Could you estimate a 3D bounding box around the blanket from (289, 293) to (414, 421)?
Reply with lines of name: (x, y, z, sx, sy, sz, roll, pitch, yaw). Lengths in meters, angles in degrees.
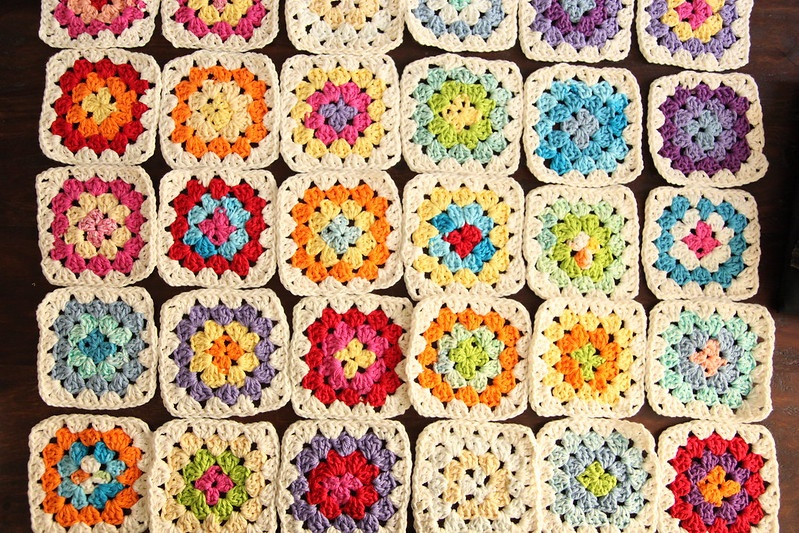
blanket: (-0.149, 0.274, 2.560, 0.362, 0.032, 0.369, 1, 88, 0)

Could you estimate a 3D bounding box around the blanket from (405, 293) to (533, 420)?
blanket: (0.210, 0.250, 2.548, 0.427, 0.099, 0.466, 16, 34, 28)

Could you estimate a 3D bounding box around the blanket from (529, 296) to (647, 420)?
blanket: (0.569, 0.279, 2.571, 0.357, 0.035, 0.354, 3, 88, 0)

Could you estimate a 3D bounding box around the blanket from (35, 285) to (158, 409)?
blanket: (-0.915, 0.251, 2.551, 0.326, 0.099, 0.386, 1, 88, 3)

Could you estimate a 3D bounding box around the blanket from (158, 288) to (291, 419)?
blanket: (-0.526, 0.262, 2.564, 0.426, 0.101, 0.475, 5, 45, -11)
